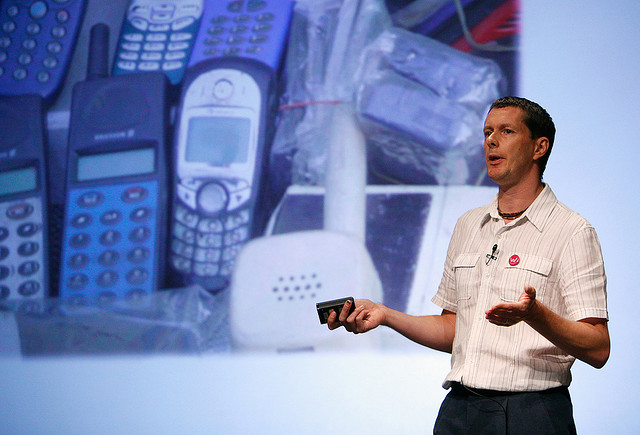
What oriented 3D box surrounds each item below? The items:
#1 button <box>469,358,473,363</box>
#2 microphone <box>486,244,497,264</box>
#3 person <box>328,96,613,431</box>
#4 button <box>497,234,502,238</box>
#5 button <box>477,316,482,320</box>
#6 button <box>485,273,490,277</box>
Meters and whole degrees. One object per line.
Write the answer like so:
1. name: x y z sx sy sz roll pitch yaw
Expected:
1. button: 0.412 0.390 1.834 0.009 0.013 0.004 -4 -9 18
2. microphone: 0.479 0.095 1.867 0.029 0.043 0.019 5 6 12
3. person: 0.464 0.130 1.834 0.635 0.929 0.301 7 7 26
4. button: 0.502 0.051 1.875 0.009 0.011 0.002 -13 -2 0
5. button: 0.440 0.275 1.846 0.008 0.012 0.005 0 -5 25
6. button: 0.463 0.158 1.855 0.009 0.011 0.003 2 -9 9
